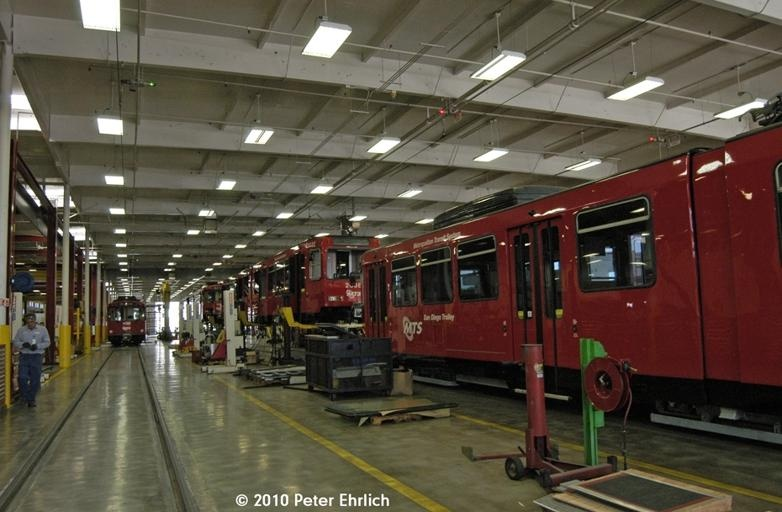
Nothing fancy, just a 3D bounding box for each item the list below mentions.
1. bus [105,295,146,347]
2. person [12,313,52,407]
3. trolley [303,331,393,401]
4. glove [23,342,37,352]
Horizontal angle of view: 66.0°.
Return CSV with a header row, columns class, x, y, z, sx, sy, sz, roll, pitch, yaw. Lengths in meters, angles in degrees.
class,x,y,z,sx,sy,sz,roll,pitch,yaw
bus,-20.707,4.871,47.229,2.707,3.310,1.227,1,-8,-16
person,-9.159,2.602,15.270,0.740,2.309,0.816,3,-9,-31
trolley,-1.105,2.758,15.856,1.620,1.526,2.714,-1,-1,-25
glove,-8.992,2.251,15.000,0.266,0.090,0.196,14,12,16
